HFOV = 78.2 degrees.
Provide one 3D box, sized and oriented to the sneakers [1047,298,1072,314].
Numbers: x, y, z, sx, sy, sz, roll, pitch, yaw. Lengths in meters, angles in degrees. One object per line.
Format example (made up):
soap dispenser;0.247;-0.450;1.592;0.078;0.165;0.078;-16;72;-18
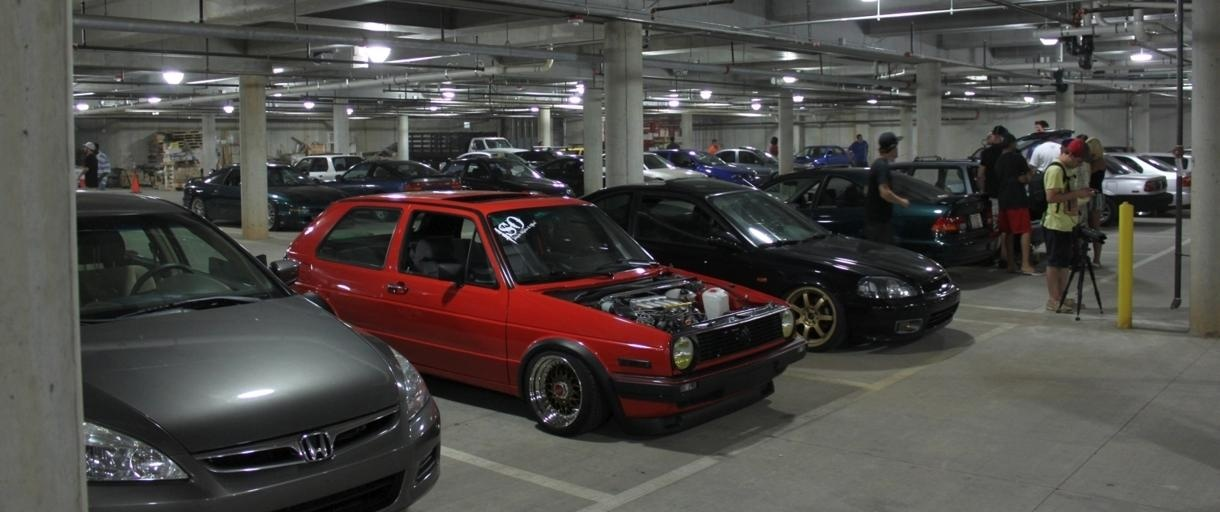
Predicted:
sneakers;8.939;1.007;14.911;0.519;0.165;0.225;-1;8;29

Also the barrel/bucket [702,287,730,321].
barrel/bucket;1.618;0.726;11.497;0.422;0.408;0.602;-2;10;7

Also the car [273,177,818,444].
car;-1.136;0.796;11.875;8.067;2.041;3.909;8;14;30

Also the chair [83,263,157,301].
chair;-6.660;0.370;10.443;0.995;0.297;0.710;1;11;35

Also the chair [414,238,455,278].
chair;-2.785;0.077;12.113;0.924;0.495;0.690;3;-18;-4

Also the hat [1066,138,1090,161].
hat;9.114;-2.066;14.662;0.313;0.422;0.545;4;12;36

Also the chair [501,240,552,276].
chair;-1.380;0.056;11.849;0.625;0.526;0.794;-6;2;-37
